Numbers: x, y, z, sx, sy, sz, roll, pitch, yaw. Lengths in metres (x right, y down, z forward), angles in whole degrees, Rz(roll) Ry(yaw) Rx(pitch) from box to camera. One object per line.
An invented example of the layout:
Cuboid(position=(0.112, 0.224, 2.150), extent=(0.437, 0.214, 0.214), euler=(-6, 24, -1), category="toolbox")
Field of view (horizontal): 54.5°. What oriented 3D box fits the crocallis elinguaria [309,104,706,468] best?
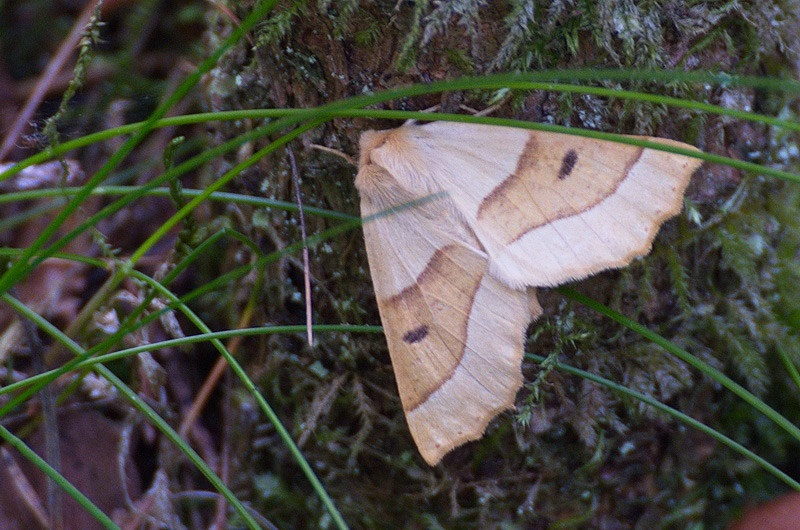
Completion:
Cuboid(position=(0.242, -0.021, 3.062), extent=(1.099, 0.373, 1.592), euler=(32, 60, 21), category="crocallis elinguaria")
